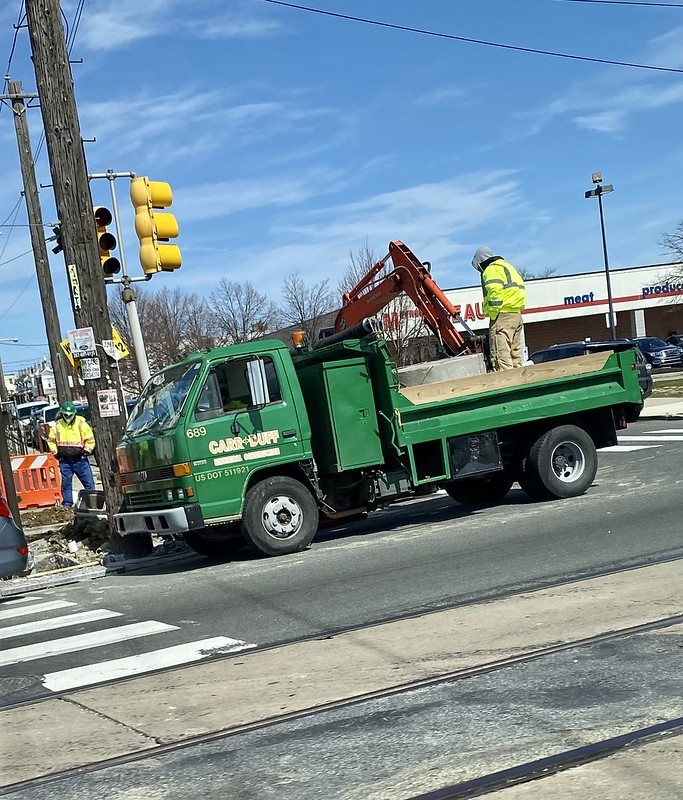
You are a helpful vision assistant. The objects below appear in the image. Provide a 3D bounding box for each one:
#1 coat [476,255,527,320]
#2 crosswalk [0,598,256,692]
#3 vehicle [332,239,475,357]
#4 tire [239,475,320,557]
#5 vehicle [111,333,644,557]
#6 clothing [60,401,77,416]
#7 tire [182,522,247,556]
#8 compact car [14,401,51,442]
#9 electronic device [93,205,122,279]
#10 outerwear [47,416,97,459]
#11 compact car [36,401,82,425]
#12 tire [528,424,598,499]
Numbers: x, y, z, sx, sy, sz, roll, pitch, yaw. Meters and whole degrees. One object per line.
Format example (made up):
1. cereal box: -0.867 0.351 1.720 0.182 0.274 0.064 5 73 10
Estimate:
1. coat: 2.138 -1.511 11.729 0.579 0.855 0.563 -11 -1 10
2. crosswalk: -1.895 1.825 6.458 1.465 0.058 2.474 -6 -1 -36
3. vehicle: 0.831 -1.448 12.635 0.600 1.545 3.079 -15 15 -35
4. tire: -0.711 1.293 9.857 1.097 0.858 0.386 -9 -6 -28
5. vehicle: 0.455 0.409 11.758 6.840 2.080 2.794 -7 -3 -34
6. clothing: -5.257 0.180 16.784 0.294 0.161 0.347 2 21 -21
7. tire: -1.543 1.741 10.648 0.721 0.535 0.615 -1 1 -3
8. compact car: -12.911 0.890 36.502 1.920 1.246 3.667 -2 -2 -19
9. electronic device: -3.312 -2.198 12.332 0.261 1.050 0.950 -12 0 -12
10. outerwear: -5.007 0.700 16.232 1.227 0.834 0.597 2 -7 -22
11. compact car: -8.808 0.409 27.047 0.866 0.596 1.310 -7 18 -35
12. tire: 2.786 0.787 11.349 1.152 0.897 0.393 5 -4 -35
